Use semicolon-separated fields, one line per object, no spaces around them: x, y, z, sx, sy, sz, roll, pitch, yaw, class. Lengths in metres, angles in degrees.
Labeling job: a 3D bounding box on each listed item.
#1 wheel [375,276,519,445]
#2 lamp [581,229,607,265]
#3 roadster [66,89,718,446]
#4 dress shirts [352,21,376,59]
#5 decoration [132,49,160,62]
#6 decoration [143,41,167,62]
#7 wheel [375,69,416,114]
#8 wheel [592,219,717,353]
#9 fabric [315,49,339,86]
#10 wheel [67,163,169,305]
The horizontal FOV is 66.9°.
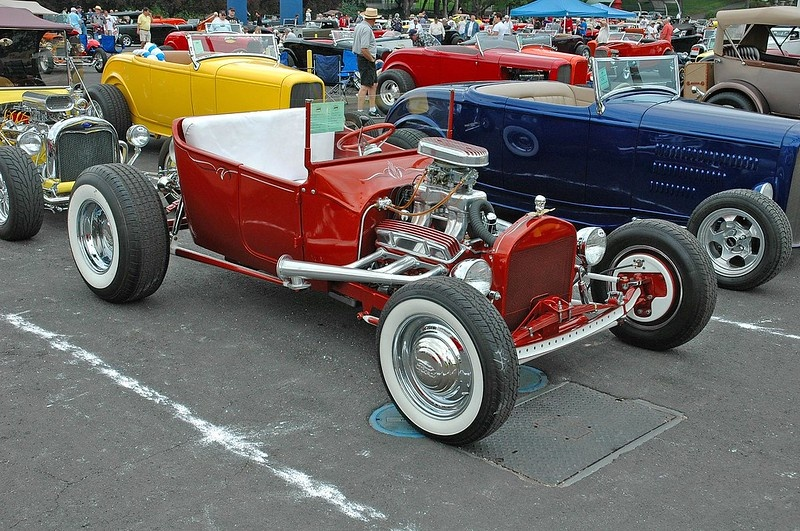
0.322;0.684;4.174;0.861;0.959;0.278;-26;-3;37;wheel
1.627;-0.160;5.116;0.319;0.351;0.199;3;-3;-42;lamp
-0.197;-0.339;5.413;4.378;1.700;3.251;20;24;40;roadster
-0.833;-5.186;13.841;0.430;0.757;0.626;-2;21;-6;dress shirts
-4.499;-3.724;10.736;0.349;0.129;0.347;8;5;-39;decoration
-4.454;-3.812;10.945;0.333;0.224;0.613;-25;47;-33;decoration
-0.152;-4.067;14.241;0.997;1.014;0.383;15;25;39;wheel
2.169;0.216;5.230;0.965;1.112;0.359;-17;-7;39;wheel
-1.847;-4.921;15.253;0.664;0.703;0.401;-1;21;-3;fabric
-2.663;-0.253;5.707;0.973;1.141;0.363;35;33;31;wheel
